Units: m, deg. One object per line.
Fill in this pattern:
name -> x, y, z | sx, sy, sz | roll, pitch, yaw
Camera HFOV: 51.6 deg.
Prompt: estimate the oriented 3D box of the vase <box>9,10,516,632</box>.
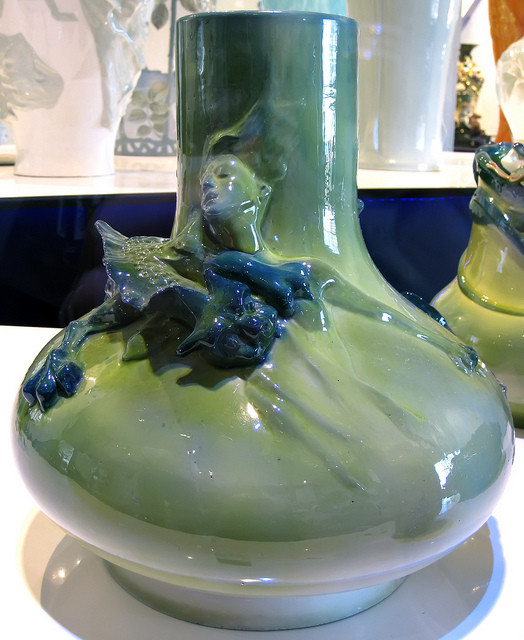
vase -> 0.000, 0.013, 0.414 | 0.323, 0.336, 0.320 | 12, 15, 42
